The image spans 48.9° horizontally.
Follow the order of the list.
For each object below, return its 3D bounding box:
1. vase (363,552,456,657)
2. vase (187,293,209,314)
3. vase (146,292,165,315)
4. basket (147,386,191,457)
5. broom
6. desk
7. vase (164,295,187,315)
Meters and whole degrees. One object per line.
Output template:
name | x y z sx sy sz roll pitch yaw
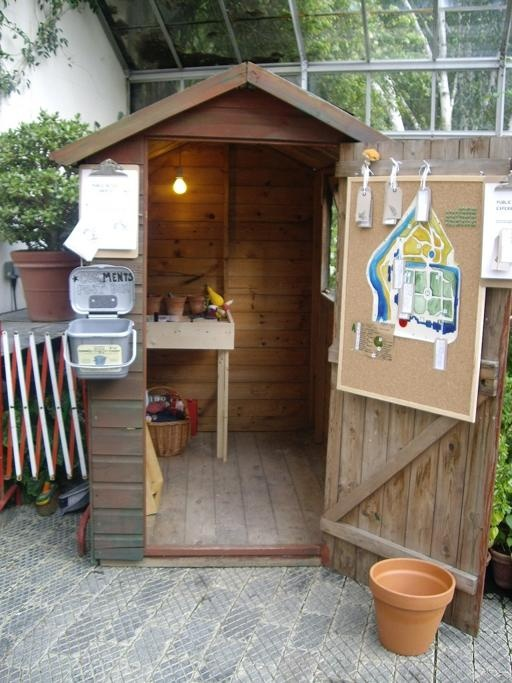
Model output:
vase | 0.674 1.162 2.467 0.353 0.358 0.422 4 9 21
vase | -0.504 -0.324 4.800 0.168 0.139 0.162 -2 10 -17
vase | -0.834 -0.300 4.673 0.171 0.159 0.167 -1 5 -15
basket | -0.743 0.673 4.872 0.405 0.602 0.374 3 14 -4
broom | -1.383 0.517 3.779 0.218 1.185 0.565 -2 10 -20
desk | -0.557 0.356 4.795 0.688 1.213 0.621 0 9 -7
vase | -0.673 -0.302 4.716 0.167 0.159 0.171 0 -1 -34
